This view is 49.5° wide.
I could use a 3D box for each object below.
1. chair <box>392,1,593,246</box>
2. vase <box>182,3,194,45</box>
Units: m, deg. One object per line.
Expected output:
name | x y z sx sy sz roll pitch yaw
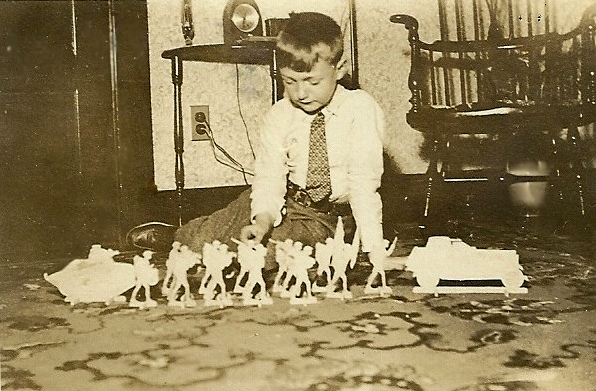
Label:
chair | 1.369 -0.473 4.342 1.166 1.519 0.718 3 2 22
vase | -0.725 -1.107 4.266 0.073 0.271 0.161 2 2 -9
